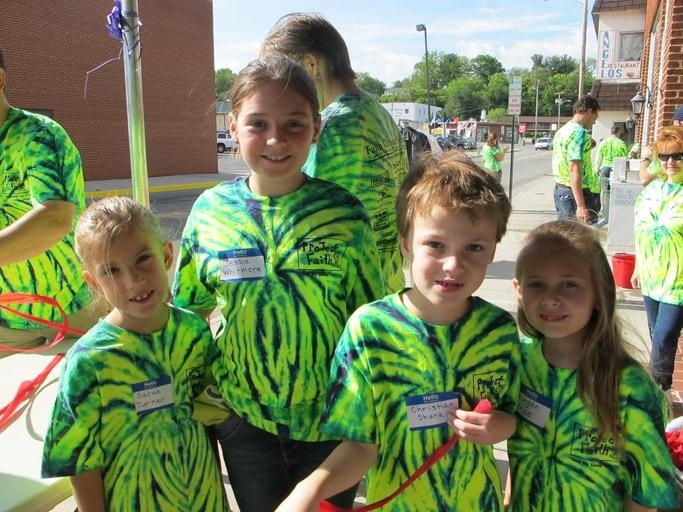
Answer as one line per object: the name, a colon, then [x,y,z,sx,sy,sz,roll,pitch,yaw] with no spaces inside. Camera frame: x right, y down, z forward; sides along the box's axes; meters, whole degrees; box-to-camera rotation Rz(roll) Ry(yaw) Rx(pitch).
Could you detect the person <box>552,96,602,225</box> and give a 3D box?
person: [3.261,-1.306,7.327,0.634,1.794,1.173,4,14,25]
